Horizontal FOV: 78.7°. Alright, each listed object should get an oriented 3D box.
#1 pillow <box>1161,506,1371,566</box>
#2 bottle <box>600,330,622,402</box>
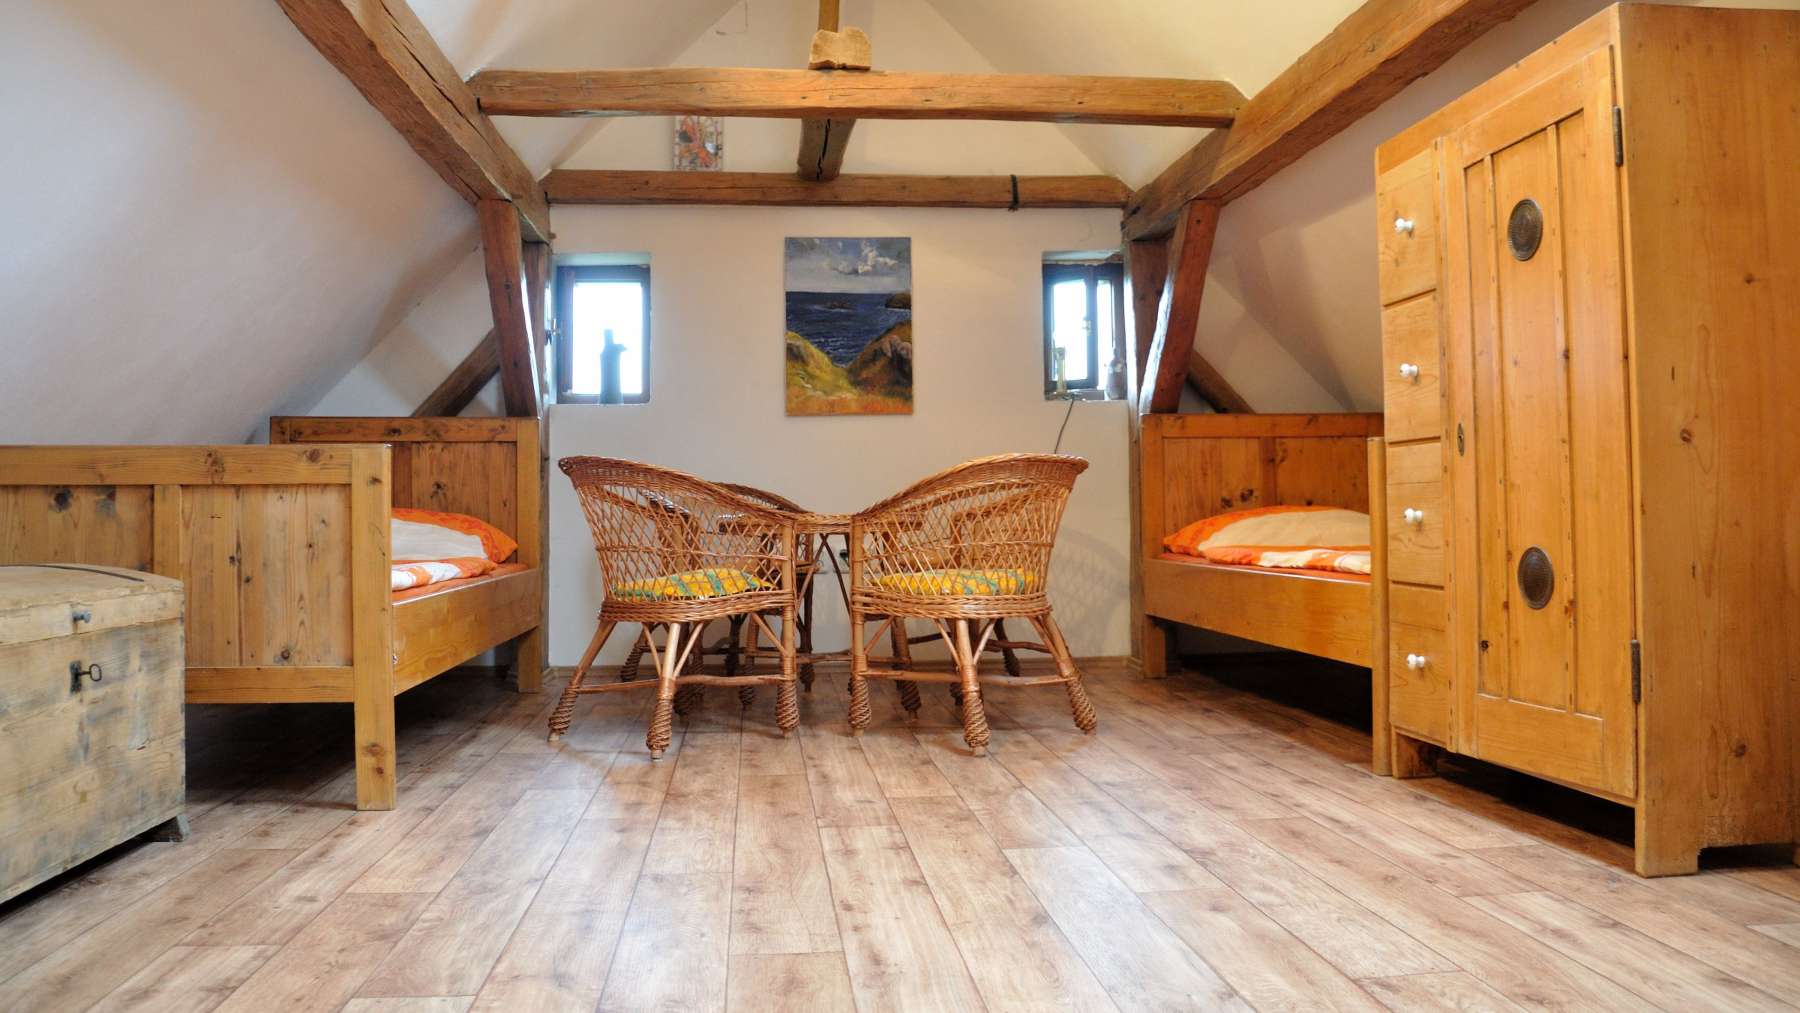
[{"bbox_3d":[1.698,0.142,4.787,0.626,0.246,1.420,1,0,-7],"label":"pillow"},{"bbox_3d":[-1.529,-0.737,5.813,0.100,0.365,0.046,0,1,-14],"label":"bottle"}]
